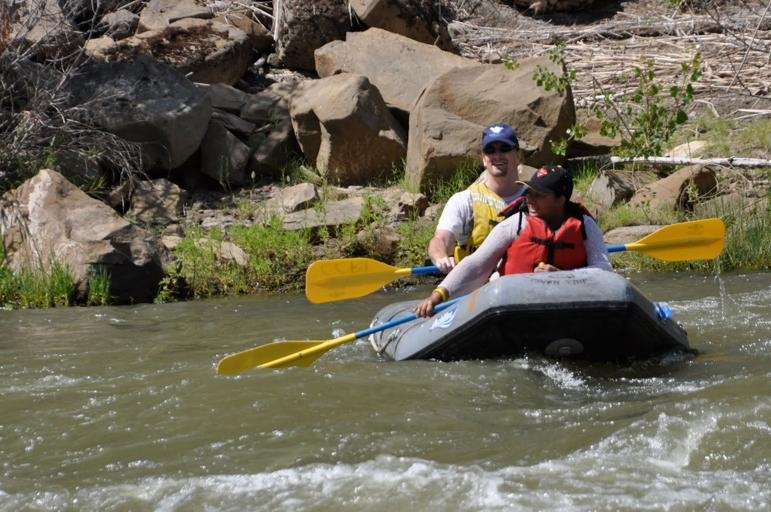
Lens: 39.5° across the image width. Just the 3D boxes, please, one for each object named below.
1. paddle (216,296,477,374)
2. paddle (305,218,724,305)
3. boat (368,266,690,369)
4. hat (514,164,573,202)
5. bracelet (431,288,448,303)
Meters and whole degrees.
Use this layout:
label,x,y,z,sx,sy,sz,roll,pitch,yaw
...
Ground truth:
label,x,y,z,sx,sy,sz,roll,pitch,yaw
paddle,-0.392,0.851,11.368,1.920,0.217,0.096,-19,-15,-2
paddle,1.573,0.076,11.828,5.287,0.784,0.242,-8,-20,19
boat,1.395,0.693,10.605,1.902,0.469,1.329,-14,-20,33
hat,1.676,-0.769,10.796,0.612,0.338,0.423,12,3,-29
bracelet,0.554,0.377,10.750,0.118,0.092,0.154,21,-10,-4
